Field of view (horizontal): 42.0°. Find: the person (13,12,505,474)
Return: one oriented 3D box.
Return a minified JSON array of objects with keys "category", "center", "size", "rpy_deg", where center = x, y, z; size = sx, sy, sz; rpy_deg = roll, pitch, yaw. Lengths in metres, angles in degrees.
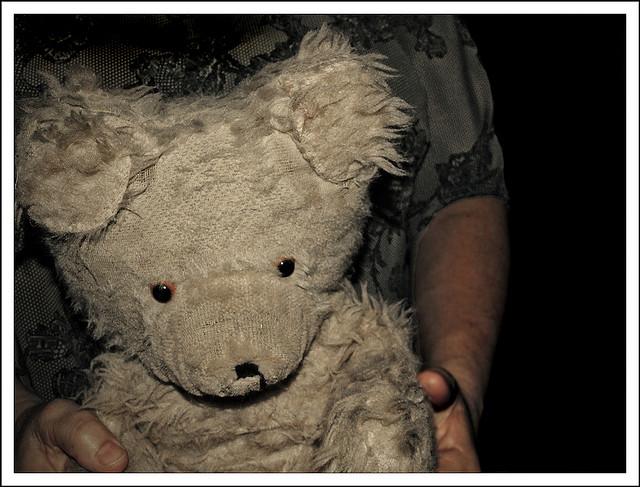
[{"category":"person","center":[-0.099,0.138,1.425],"size":[0.807,0.855,0.462],"rpy_deg":[-11,31,-17]}]

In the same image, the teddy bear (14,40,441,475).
[{"category":"teddy bear","center":[-0.160,0.028,1.288],"size":[0.444,0.593,0.358],"rpy_deg":[-13,24,-7]}]
